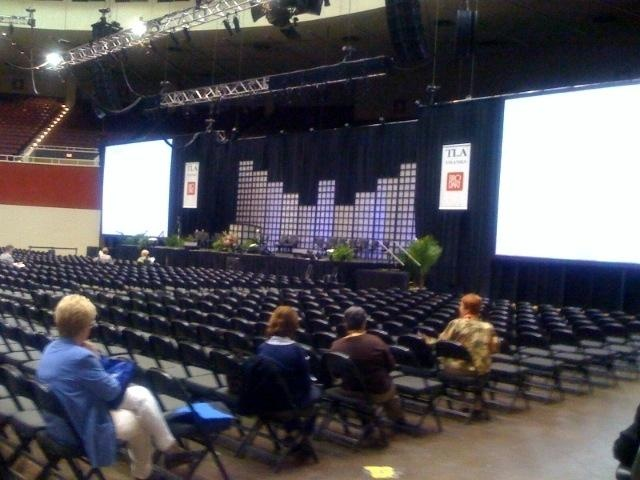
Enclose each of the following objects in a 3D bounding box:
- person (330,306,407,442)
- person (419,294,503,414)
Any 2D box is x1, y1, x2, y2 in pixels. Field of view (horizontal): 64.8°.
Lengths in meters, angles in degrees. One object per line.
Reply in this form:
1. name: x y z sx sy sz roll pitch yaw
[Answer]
1. person: 0.511 1.348 5.072 0.815 1.291 0.448 2 3 3
2. person: 1.722 1.337 5.958 0.767 1.364 0.735 2 3 12
